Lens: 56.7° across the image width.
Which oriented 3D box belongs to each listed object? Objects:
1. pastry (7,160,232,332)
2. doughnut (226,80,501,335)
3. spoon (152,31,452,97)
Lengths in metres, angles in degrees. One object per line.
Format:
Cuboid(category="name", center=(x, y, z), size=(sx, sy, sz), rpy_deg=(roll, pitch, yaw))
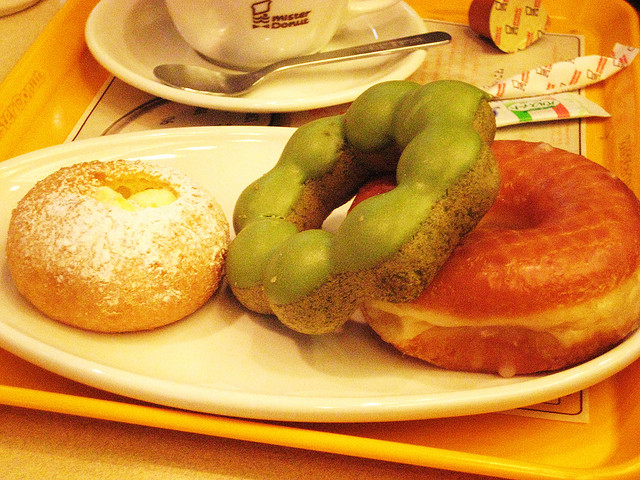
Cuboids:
Cuboid(category="pastry", center=(-0.186, 0.001, 0.620), size=(0.197, 0.093, 0.189), rpy_deg=(-21, 50, -32))
Cuboid(category="doughnut", center=(0.036, -0.077, 0.604), size=(0.263, 0.094, 0.272), rpy_deg=(-38, 30, 14))
Cuboid(category="spoon", center=(-0.022, -0.263, 0.905), size=(0.458, 0.092, 0.049), rpy_deg=(-8, 94, -3))
